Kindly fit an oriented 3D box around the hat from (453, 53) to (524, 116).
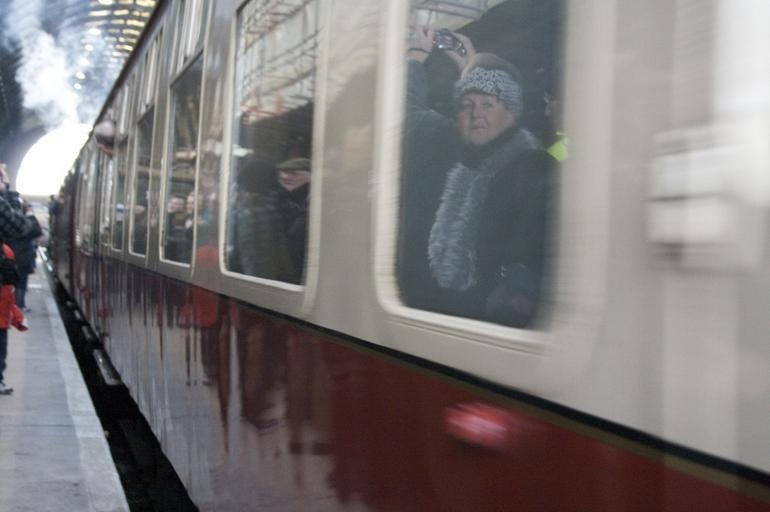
[{"bbox_3d":[0.281,-0.419,1.524,0.137,0.102,0.174,21,-5,26],"label":"hat"}]
